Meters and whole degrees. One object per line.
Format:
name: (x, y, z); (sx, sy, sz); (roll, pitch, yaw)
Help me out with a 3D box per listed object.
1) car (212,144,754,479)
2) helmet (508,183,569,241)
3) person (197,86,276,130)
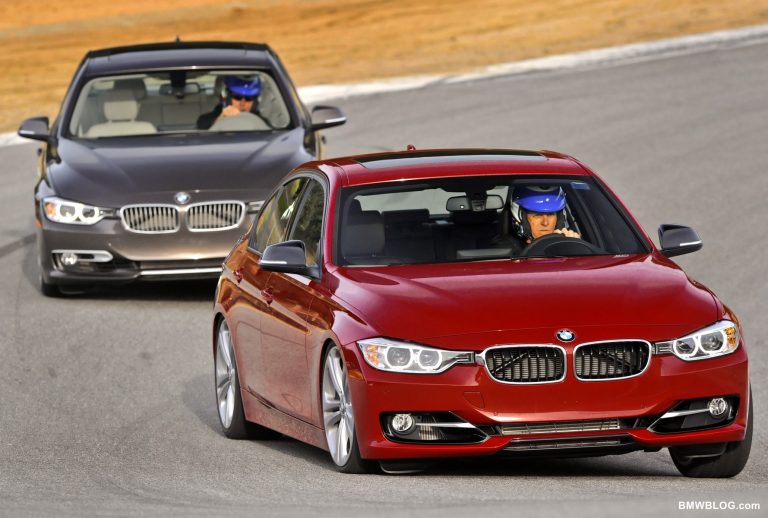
car: (0.225, 0.168, 5.796); (2.248, 1.211, 3.533); (0, -1, -15)
helmet: (1.138, -0.373, 6.051); (0.372, 0.401, 0.443); (-2, -2, -14)
person: (-2.345, -2.384, 12.812); (0.838, 0.418, 1.029); (1, 19, -6)
